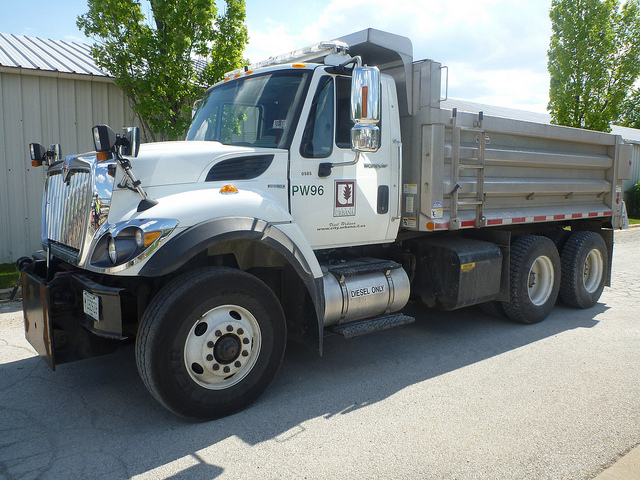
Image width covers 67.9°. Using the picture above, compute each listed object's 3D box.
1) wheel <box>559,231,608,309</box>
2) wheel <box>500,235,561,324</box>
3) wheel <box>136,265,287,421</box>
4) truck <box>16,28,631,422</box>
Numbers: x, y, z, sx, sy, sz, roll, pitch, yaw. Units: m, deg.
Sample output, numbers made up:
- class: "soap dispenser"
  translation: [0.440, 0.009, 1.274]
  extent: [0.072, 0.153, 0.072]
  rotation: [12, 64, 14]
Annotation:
- class: "wheel"
  translation: [4.389, 0.491, 7.892]
  extent: [1.127, 1.317, 0.357]
  rotation: [-8, 10, -32]
- class: "wheel"
  translation: [3.178, 0.589, 7.096]
  extent: [1.154, 1.352, 0.346]
  rotation: [-6, 9, -31]
- class: "wheel"
  translation: [-0.992, 0.977, 4.461]
  extent: [1.366, 1.410, 0.317]
  rotation: [-6, 13, -27]
- class: "truck"
  translation: [0.751, -0.194, 6.988]
  extent: [8.160, 3.980, 3.717]
  rotation: [2, -1, -38]
